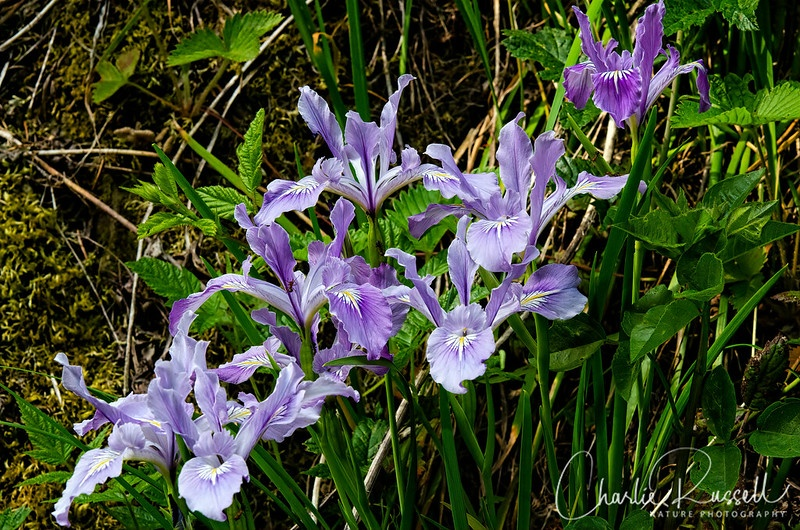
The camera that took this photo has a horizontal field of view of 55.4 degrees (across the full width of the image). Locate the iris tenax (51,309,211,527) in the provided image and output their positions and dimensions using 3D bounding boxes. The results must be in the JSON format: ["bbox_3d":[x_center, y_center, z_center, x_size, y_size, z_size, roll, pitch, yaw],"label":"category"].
[{"bbox_3d":[-0.830,0.510,2.376,0.489,0.376,0.548,-6,13,-17],"label":"iris tenax"}]

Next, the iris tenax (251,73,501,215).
[{"bbox_3d":[-0.131,-0.341,2.547,0.532,0.348,0.566,-2,5,36],"label":"iris tenax"}]

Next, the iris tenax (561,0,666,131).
[{"bbox_3d":[0.725,-0.642,2.527,0.345,0.269,0.393,9,44,30],"label":"iris tenax"}]

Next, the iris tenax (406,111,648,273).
[{"bbox_3d":[0.390,-0.140,2.432,0.594,0.350,0.527,-20,44,7],"label":"iris tenax"}]
